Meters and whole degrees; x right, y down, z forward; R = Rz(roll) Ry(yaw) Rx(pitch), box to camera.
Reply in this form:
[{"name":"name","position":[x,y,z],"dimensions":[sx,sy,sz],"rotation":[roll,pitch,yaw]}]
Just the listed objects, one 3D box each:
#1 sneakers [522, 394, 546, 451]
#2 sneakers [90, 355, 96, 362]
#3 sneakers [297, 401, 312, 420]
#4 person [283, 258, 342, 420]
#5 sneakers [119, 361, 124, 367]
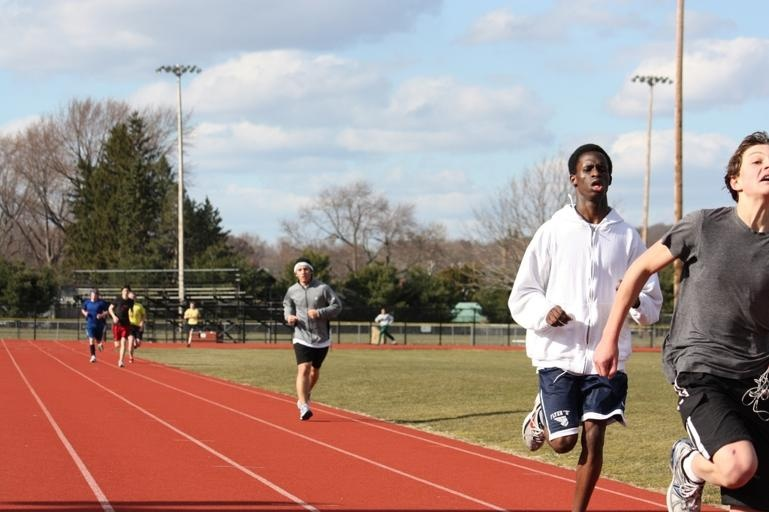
[{"name":"sneakers","position":[1.625,1.858,11.455],"dimensions":[0.216,0.673,0.280],"rotation":[-1,25,6]},{"name":"sneakers","position":[-7.229,2.569,25.914],"dimensions":[0.138,0.150,0.325],"rotation":[3,3,-8]},{"name":"sneakers","position":[-1.215,2.397,15.970],"dimensions":[0.136,0.172,0.379],"rotation":[2,-18,-14]},{"name":"person","position":[-1.154,1.290,16.220],"dimensions":[0.825,2.455,0.820],"rotation":[1,-1,-20]},{"name":"sneakers","position":[-6.157,2.556,24.550],"dimensions":[0.116,0.186,0.183],"rotation":[2,-11,-14]}]
